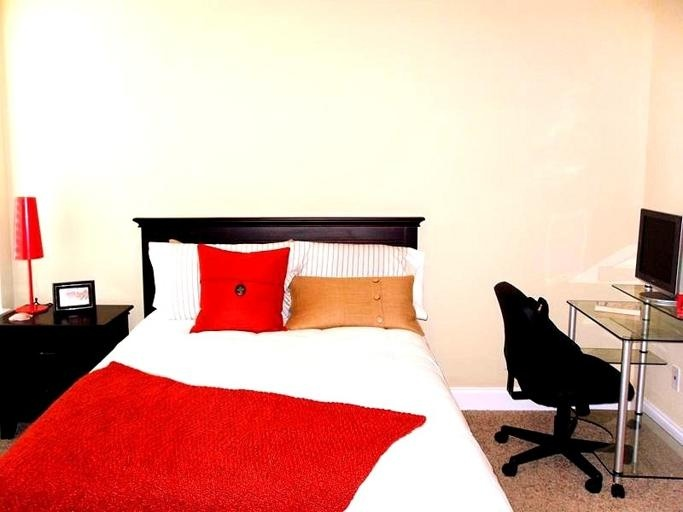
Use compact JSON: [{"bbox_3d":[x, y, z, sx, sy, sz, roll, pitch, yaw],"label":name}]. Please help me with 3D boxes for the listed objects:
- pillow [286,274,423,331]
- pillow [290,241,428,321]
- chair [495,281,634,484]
[{"bbox_3d":[0.076,0.271,3.259,0.776,0.421,0.178,0,-37,-7],"label":"pillow"},{"bbox_3d":[0.056,0.053,3.268,0.923,0.508,0.239,0,-20,-7],"label":"pillow"},{"bbox_3d":[1.479,0.765,3.626,1.076,1.372,1.092,0,2,10],"label":"chair"}]
